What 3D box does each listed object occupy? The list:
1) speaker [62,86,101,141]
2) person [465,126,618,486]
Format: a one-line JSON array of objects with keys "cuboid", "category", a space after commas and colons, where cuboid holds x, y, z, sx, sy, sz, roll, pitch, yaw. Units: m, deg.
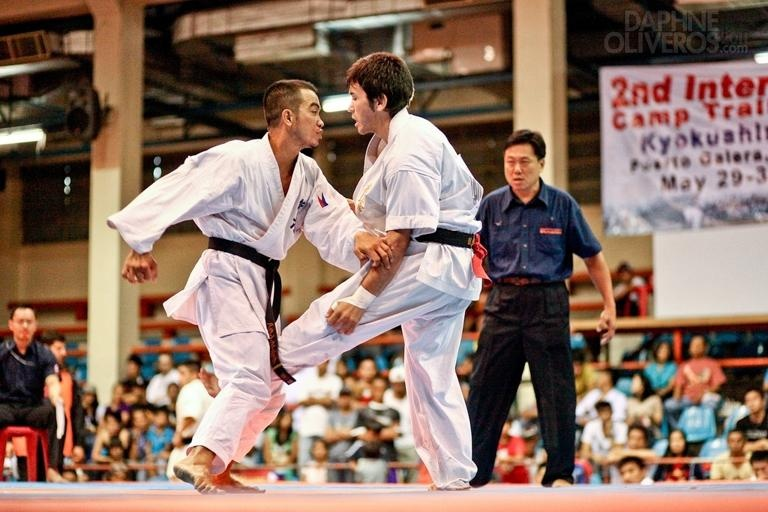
[{"cuboid": [-3.578, -1.698, 16.816, 0.432, 0.443, 1.296, -1, -3, -11], "category": "speaker"}, {"cuboid": [1.410, 0.463, 13.194, 1.343, 3.315, 0.406, -2, -4, 3], "category": "person"}]
